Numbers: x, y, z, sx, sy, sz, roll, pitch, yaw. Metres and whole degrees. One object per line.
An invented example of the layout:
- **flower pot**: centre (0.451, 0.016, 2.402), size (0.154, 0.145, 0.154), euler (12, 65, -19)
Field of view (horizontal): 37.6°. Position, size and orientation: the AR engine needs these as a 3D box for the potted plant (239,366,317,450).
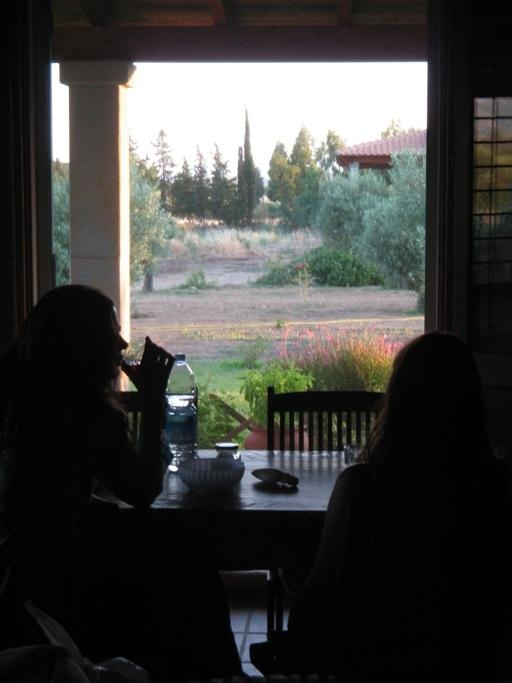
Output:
- **potted plant**: centre (0.111, 0.332, 4.696), size (0.312, 0.562, 0.409), euler (-1, 7, 2)
